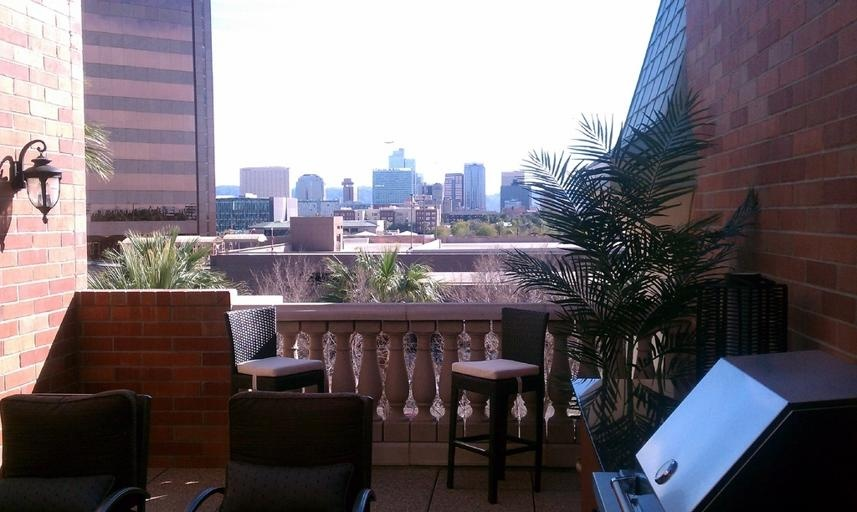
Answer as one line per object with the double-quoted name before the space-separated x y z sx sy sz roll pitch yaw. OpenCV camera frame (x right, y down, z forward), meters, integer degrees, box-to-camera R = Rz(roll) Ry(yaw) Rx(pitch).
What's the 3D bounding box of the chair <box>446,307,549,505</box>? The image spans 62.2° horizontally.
"chair" 0.616 1.224 6.102 0.928 1.538 0.684 -2 5 -13
